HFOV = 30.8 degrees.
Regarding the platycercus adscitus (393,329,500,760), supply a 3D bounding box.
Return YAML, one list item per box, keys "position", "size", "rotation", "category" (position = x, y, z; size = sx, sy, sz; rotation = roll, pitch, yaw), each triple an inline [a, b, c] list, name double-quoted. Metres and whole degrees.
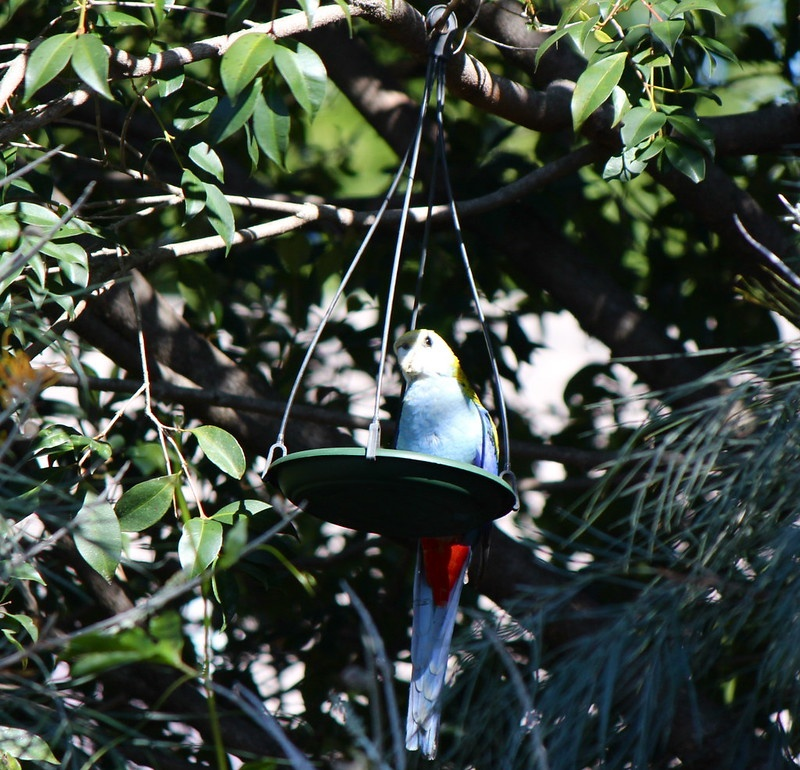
- position: [0.089, 0.339, 3.276]
  size: [0.238, 0.942, 0.600]
  rotation: [0, -8, 9]
  category: "platycercus adscitus"
